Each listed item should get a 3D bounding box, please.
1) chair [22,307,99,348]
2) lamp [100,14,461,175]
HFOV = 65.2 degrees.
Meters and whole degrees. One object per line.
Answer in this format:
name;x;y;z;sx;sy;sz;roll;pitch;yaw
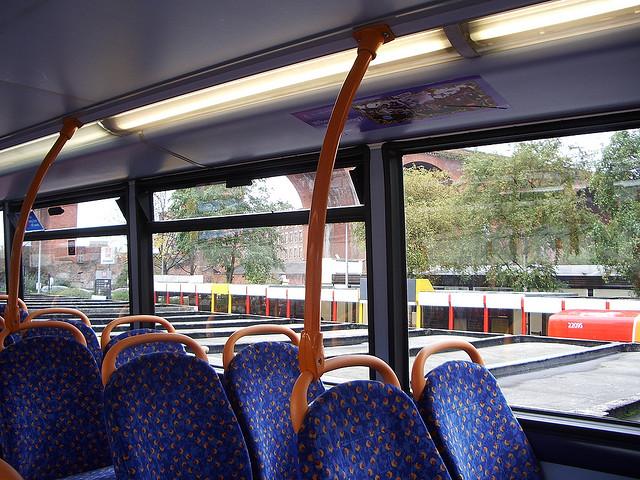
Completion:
chair;-1.632;0.545;3.170;0.330;0.151;0.404;3;-14;-13
lamp;-0.479;-0.677;2.827;0.592;0.210;2.820;6;-12;-39
